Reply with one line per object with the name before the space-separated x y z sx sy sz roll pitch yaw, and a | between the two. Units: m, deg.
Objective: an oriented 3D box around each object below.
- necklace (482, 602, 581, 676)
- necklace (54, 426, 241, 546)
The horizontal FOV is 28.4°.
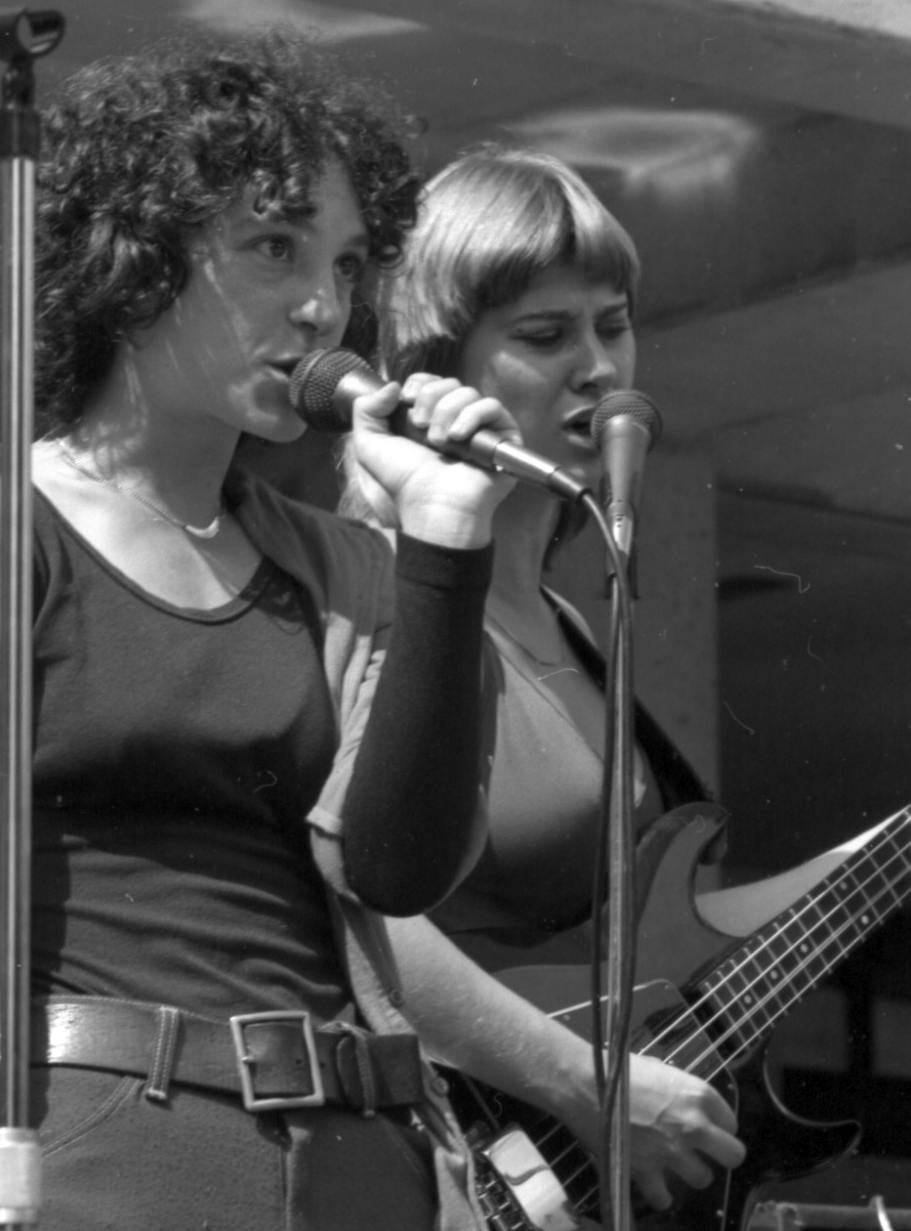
necklace | 0.082 0.038 1.980 0.090 0.022 0.065 52 34 13
necklace | -0.247 -0.096 1.438 0.121 0.029 0.069 33 -4 -16
